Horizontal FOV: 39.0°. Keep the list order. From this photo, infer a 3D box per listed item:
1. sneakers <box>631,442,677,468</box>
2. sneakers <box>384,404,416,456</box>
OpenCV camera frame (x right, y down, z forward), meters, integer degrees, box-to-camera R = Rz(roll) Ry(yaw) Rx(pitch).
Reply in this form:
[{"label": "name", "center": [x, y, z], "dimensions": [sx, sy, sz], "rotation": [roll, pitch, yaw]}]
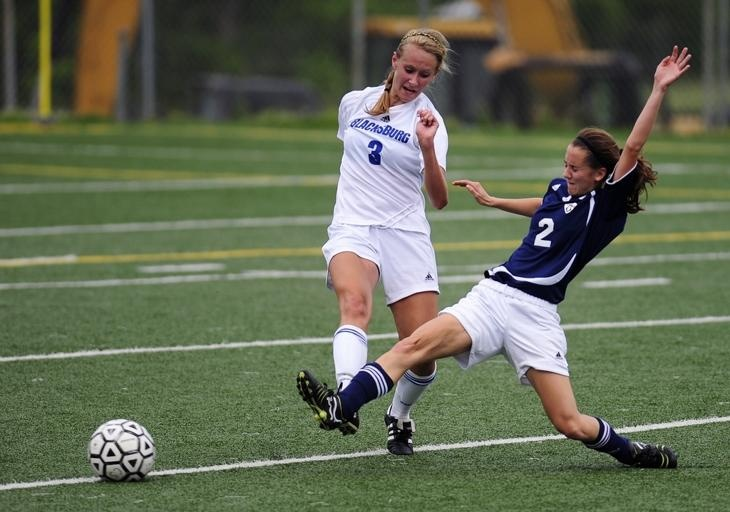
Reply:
[{"label": "sneakers", "center": [1.886, 1.305, 6.759], "dimensions": [0.330, 0.142, 0.148], "rotation": [-8, 3, 5]}, {"label": "sneakers", "center": [0.242, 1.195, 7.004], "dimensions": [0.129, 0.145, 0.362], "rotation": [2, 39, -10]}]
